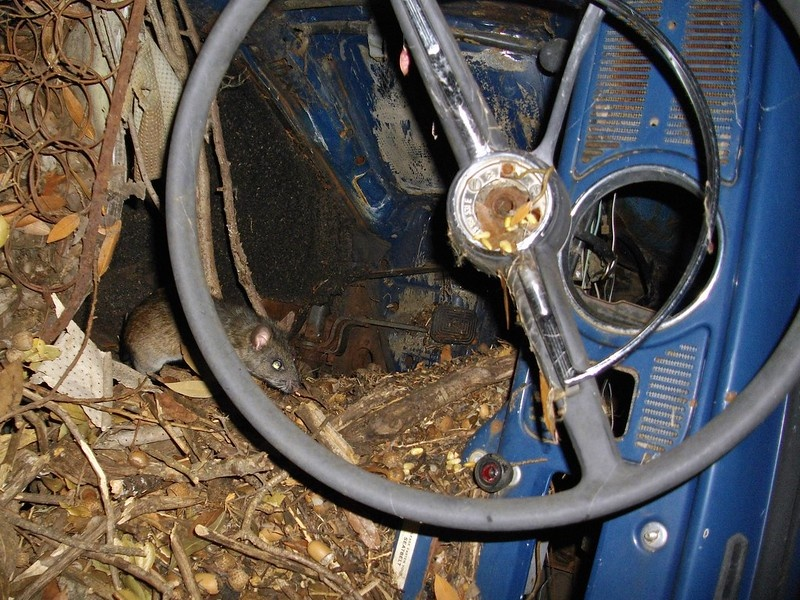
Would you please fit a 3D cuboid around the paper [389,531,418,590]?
[{"bbox_3d":[0.012,0.962,2.596,0.071,0.204,0.099,13,-18,-6],"label":"paper"}]

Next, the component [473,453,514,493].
[{"bbox_3d":[0.308,0.572,2.343,0.131,0.149,0.107,-13,-23,41],"label":"component"}]
